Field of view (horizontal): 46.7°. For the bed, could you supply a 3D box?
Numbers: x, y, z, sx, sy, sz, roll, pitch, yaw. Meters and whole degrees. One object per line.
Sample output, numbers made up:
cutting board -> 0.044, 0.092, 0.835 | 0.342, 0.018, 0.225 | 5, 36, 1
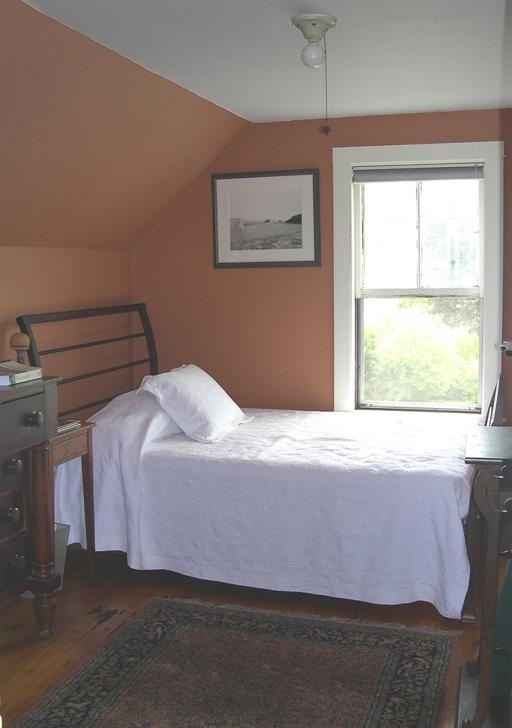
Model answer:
bed -> -0.044, 0.307, 2.483 | 1.700, 1.042, 1.052 | 0, 14, 13

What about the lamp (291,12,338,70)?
lamp -> 0.185, -1.039, 1.925 | 0.134, 0.146, 0.133 | 3, 16, 11

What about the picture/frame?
picture/frame -> 0.082, -0.828, 3.277 | 0.573, 0.475, 0.026 | 2, 13, 19
